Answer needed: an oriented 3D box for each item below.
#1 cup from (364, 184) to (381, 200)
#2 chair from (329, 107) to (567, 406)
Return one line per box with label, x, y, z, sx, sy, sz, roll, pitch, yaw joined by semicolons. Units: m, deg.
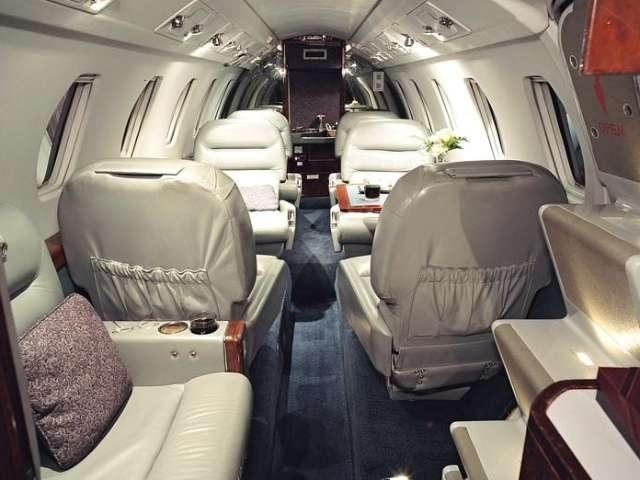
cup;0.515;-0.475;4.196;0.132;0.108;0.123;1;21;0
chair;0.611;-0.069;2.875;0.957;1.611;1.629;-2;20;-3
